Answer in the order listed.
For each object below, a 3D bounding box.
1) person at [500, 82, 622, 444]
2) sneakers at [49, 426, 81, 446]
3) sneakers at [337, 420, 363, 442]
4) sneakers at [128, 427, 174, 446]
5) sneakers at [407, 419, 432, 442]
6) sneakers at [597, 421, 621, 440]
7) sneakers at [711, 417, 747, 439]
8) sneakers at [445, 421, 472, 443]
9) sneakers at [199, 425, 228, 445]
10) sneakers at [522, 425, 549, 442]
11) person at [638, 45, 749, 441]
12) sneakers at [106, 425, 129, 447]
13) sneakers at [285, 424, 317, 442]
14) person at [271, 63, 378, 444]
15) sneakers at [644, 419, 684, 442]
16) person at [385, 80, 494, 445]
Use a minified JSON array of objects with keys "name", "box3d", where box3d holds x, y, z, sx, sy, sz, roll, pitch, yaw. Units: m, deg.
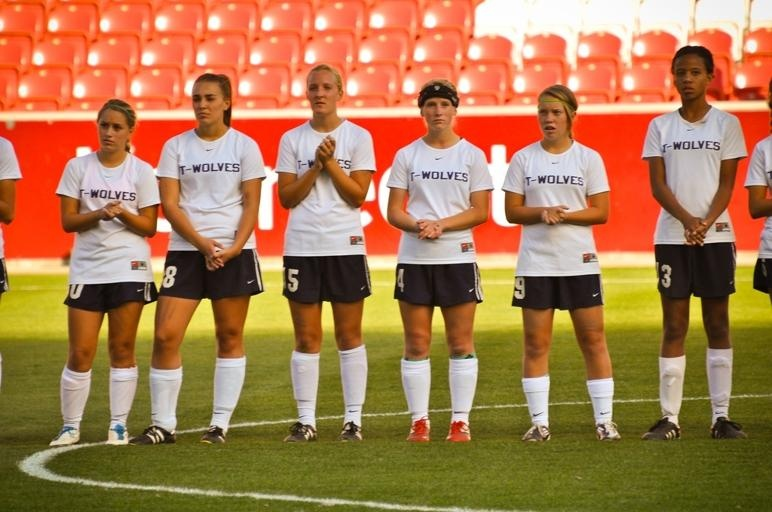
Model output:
[{"name":"person","box3d":[1.540,0.050,10.309,0.952,3.100,0.958,-1,13,4]},{"name":"sneakers","box3d":[-2.844,1.616,10.220,0.115,0.121,0.294,-1,-3,26]},{"name":"sneakers","box3d":[-0.319,1.602,10.430,0.155,0.132,0.313,0,-8,2]},{"name":"sneakers","box3d":[-2.074,1.612,10.220,0.429,0.149,0.144,4,-5,-16]},{"name":"sneakers","box3d":[0.303,1.587,10.356,0.147,0.137,0.405,-1,-10,5]},{"name":"sneakers","box3d":[1.979,1.560,10.196,0.199,0.143,0.155,0,12,7]},{"name":"sneakers","box3d":[3.046,1.535,10.186,0.168,0.108,0.274,0,-4,-29]},{"name":"sneakers","box3d":[0.660,1.578,10.338,0.231,0.176,0.362,0,11,3]},{"name":"sneakers","box3d":[-1.554,1.605,10.333,0.219,0.157,0.290,-3,11,-7]},{"name":"sneakers","box3d":[1.354,1.593,10.248,0.124,0.080,0.226,-10,-16,41]},{"name":"person","box3d":[2.788,-0.147,10.370,0.931,3.439,1.108,1,13,11]},{"name":"sneakers","box3d":[-2.391,1.600,10.241,0.135,0.127,0.241,0,-6,1]},{"name":"sneakers","box3d":[-0.770,1.600,10.349,0.240,0.140,0.191,0,12,6]},{"name":"person","box3d":[-0.536,-0.027,10.459,0.881,3.368,1.090,-1,13,1]},{"name":"sneakers","box3d":[2.479,1.545,10.265,0.410,0.156,0.278,-1,11,-3]},{"name":"person","box3d":[0.494,0.041,10.412,0.958,3.217,1.023,-1,13,3]}]
